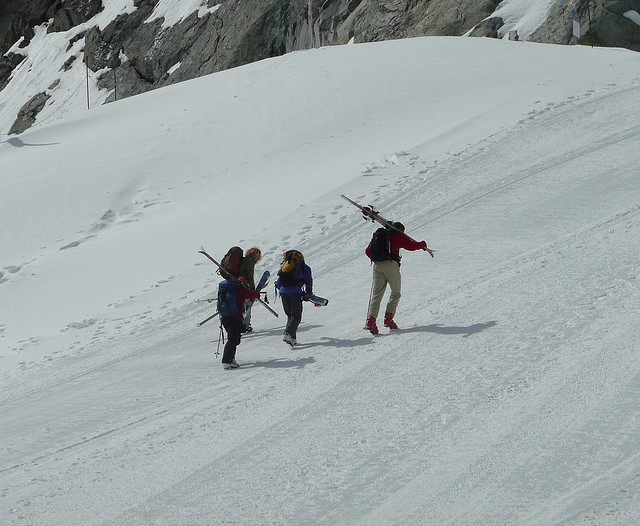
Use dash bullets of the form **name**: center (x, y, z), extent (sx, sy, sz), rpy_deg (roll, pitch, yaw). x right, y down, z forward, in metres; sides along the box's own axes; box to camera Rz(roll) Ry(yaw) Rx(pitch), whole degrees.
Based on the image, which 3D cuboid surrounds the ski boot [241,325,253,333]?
- **ski boot**: center (-1.977, 1.781, 34.582), extent (0.360, 0.113, 0.148), rpy_deg (-10, -13, -38)

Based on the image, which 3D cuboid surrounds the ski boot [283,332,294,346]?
- **ski boot**: center (-0.851, 2.073, 34.859), extent (0.165, 0.444, 0.200), rpy_deg (-18, 31, 56)

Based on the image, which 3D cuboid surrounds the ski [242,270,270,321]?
- **ski**: center (-1.829, 0.972, 36.267), extent (1.763, 0.220, 0.232), rpy_deg (-51, 10, 15)

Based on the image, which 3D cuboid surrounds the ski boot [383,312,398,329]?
- **ski boot**: center (1.863, 1.561, 34.447), extent (0.307, 0.416, 0.401), rpy_deg (-21, 30, -6)

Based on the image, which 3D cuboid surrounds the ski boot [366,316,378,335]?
- **ski boot**: center (1.412, 1.671, 34.453), extent (0.353, 0.397, 0.311), rpy_deg (7, 38, 35)

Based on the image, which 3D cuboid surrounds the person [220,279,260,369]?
- **person**: center (-2.173, 1.563, 34.650), extent (1.382, 2.551, 0.938), rpy_deg (2, -3, -20)

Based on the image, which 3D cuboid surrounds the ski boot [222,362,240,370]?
- **ski boot**: center (-2.401, 2.770, 34.262), extent (0.457, 0.176, 0.157), rpy_deg (-4, 5, -9)

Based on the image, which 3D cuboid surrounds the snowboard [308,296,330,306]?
- **snowboard**: center (-0.022, 1.026, 34.707), extent (0.580, 0.309, 0.230), rpy_deg (14, 42, 42)
